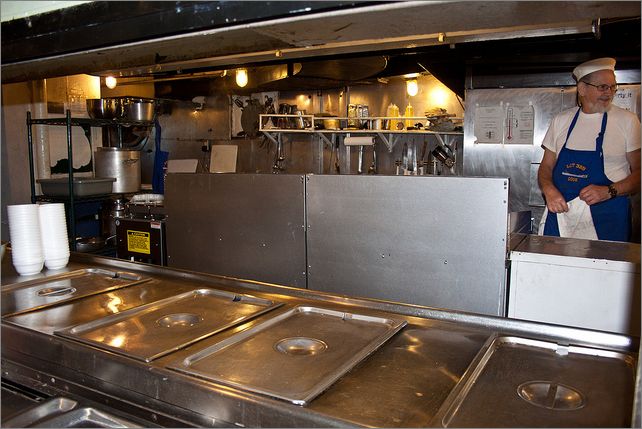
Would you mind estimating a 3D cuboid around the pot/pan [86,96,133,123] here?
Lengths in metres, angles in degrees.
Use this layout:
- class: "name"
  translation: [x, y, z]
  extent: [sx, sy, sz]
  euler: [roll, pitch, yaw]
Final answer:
- class: "pot/pan"
  translation: [-2.416, -1.233, 5.318]
  extent: [0.524, 0.230, 0.404]
  euler: [-1, 3, -39]

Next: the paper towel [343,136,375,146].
- class: "paper towel"
  translation: [0.468, -0.936, 5.828]
  extent: [0.472, 0.130, 0.137]
  euler: [2, 21, 13]

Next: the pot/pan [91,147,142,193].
- class: "pot/pan"
  translation: [-2.429, -0.536, 5.587]
  extent: [0.642, 0.564, 0.578]
  euler: [7, 9, 38]

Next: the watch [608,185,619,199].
- class: "watch"
  translation: [1.910, -0.152, 2.963]
  extent: [0.067, 0.088, 0.086]
  euler: [-2, -1, -2]

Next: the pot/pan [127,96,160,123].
- class: "pot/pan"
  translation: [-2.206, -1.297, 5.639]
  extent: [0.339, 0.203, 0.328]
  euler: [0, 2, 0]

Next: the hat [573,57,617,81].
- class: "hat"
  translation: [1.944, -1.043, 3.226]
  extent: [0.186, 0.064, 0.226]
  euler: [-9, 2, -31]

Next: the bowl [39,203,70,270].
- class: "bowl"
  translation: [-1.326, 0.106, 2.290]
  extent: [0.106, 0.329, 0.139]
  euler: [0, 7, 6]

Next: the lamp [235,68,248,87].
- class: "lamp"
  translation: [-0.981, -1.718, 5.672]
  extent: [0.209, 0.259, 0.072]
  euler: [0, 6, -14]

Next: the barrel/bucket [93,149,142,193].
- class: "barrel/bucket"
  translation: [-2.414, -0.579, 5.563]
  extent: [0.626, 0.552, 0.564]
  euler: [7, 9, 36]

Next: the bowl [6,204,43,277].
- class: "bowl"
  translation: [-1.413, 0.121, 2.181]
  extent: [0.131, 0.338, 0.106]
  euler: [-5, 8, -33]

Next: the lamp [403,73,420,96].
- class: "lamp"
  translation: [1.220, -1.757, 6.093]
  extent: [0.269, 0.266, 0.251]
  euler: [-4, 5, -7]
